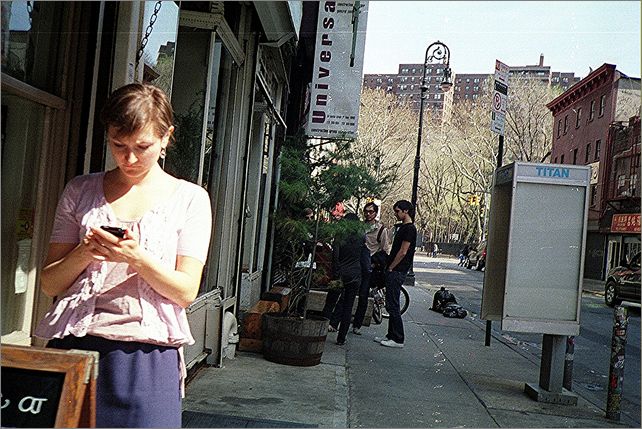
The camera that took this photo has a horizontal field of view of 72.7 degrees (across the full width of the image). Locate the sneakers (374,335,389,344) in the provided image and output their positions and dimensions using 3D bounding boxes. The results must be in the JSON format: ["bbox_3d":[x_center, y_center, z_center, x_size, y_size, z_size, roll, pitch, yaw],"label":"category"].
[{"bbox_3d":[1.203,2.407,8.438,0.256,0.107,0.145,5,-4,-25],"label":"sneakers"}]

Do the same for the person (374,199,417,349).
[{"bbox_3d":[1.445,1.103,8.233,0.559,2.309,0.564,6,-2,10],"label":"person"}]

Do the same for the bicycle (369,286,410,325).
[{"bbox_3d":[1.899,2.264,11.043,1.523,0.926,0.754,0,-11,-7],"label":"bicycle"}]

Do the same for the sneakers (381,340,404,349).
[{"bbox_3d":[1.342,2.424,8.244,0.415,0.164,0.151,4,-5,-4],"label":"sneakers"}]

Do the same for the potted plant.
[{"bbox_3d":[0.027,0.446,7.639,1.487,3.323,2.876,6,-2,7],"label":"potted plant"}]

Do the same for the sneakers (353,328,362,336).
[{"bbox_3d":[0.748,2.439,9.148,0.089,0.105,0.267,2,-5,-19],"label":"sneakers"}]

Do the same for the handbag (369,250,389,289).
[{"bbox_3d":[1.252,1.194,9.522,0.545,0.709,0.256,-1,10,-3],"label":"handbag"}]

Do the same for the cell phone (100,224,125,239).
[{"bbox_3d":[-0.849,0.070,1.750,0.110,0.052,0.043,6,-2,20],"label":"cell phone"}]
